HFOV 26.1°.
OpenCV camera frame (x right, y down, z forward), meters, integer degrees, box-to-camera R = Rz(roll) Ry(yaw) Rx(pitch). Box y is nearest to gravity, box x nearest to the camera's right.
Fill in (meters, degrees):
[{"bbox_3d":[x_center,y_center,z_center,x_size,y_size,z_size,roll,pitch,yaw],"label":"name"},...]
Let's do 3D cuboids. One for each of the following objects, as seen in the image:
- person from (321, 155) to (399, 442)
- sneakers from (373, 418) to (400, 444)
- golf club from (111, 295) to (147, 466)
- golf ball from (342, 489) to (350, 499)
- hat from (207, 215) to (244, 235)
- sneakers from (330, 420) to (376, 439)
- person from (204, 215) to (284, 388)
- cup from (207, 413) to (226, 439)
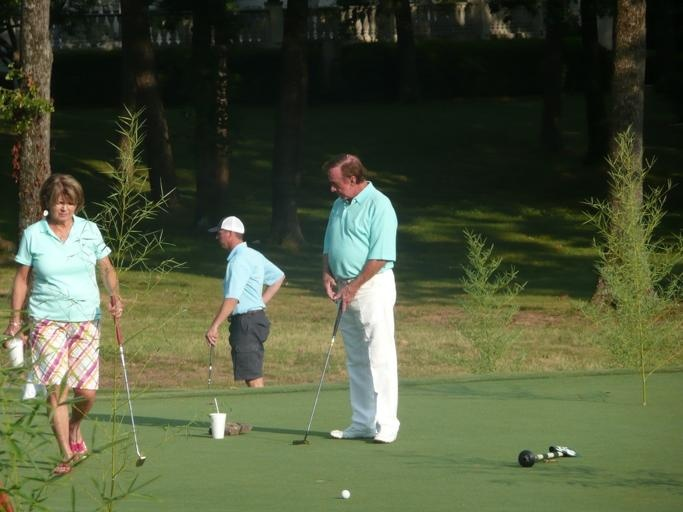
[{"bbox_3d":[0.249,0.516,18.701,0.943,3.530,1.094,-2,10,0],"label":"person"},{"bbox_3d":[0.591,2.212,18.597,0.169,0.194,0.433,1,7,13],"label":"sneakers"},{"bbox_3d":[-2.626,1.352,17.122,0.244,1.682,0.259,-14,-21,7],"label":"golf club"},{"bbox_3d":[0.048,2.824,17.458,0.112,0.088,0.120,-2,10,0],"label":"golf ball"},{"bbox_3d":[-1.601,-0.429,20.227,0.417,0.218,0.275,1,0,2],"label":"hat"},{"bbox_3d":[0.132,2.186,18.694,0.545,0.245,0.221,4,-5,1],"label":"sneakers"},{"bbox_3d":[-1.369,0.634,20.229,0.804,2.329,1.202,0,10,12],"label":"person"},{"bbox_3d":[-1.581,2.115,18.539,0.200,0.319,0.289,-3,10,-6],"label":"cup"}]
